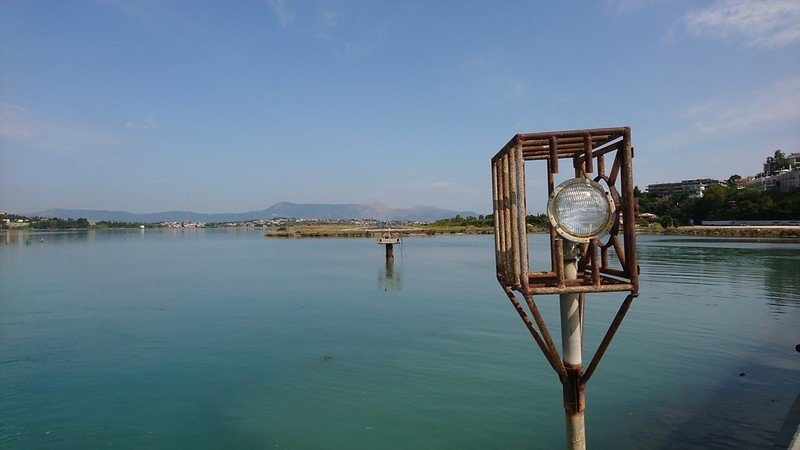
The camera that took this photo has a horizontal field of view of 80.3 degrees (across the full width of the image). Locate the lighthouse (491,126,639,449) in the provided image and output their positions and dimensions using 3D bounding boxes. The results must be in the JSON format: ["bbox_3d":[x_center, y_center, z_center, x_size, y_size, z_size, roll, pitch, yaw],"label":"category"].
[{"bbox_3d":[6.761,2.941,19.390,5.308,13.465,2.904,0,4,16],"label":"lighthouse"}]
